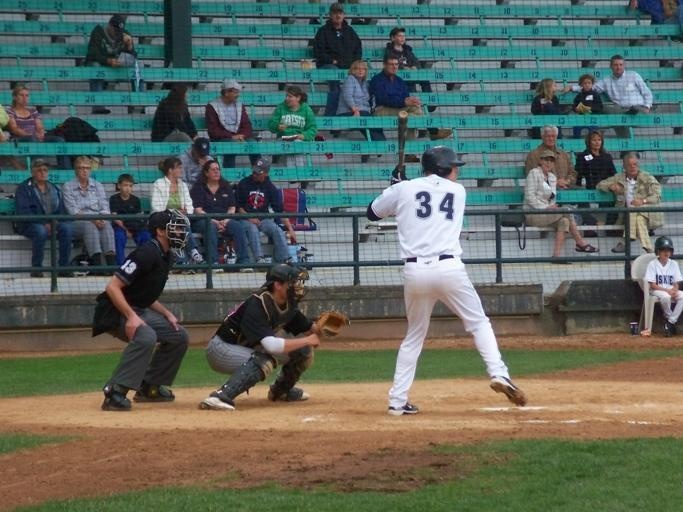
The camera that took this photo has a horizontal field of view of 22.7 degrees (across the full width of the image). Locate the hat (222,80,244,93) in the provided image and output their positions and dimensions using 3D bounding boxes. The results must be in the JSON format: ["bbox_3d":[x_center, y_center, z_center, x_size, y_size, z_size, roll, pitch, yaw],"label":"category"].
[{"bbox_3d":[-2.120,-3.196,32.259,0.279,0.146,0.210,-1,12,4],"label":"hat"}]

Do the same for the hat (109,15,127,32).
[{"bbox_3d":[-4.466,-4.606,33.723,0.294,0.354,0.376,-2,1,0],"label":"hat"}]

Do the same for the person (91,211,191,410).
[{"bbox_3d":[-2.972,0.813,25.399,1.348,2.943,0.648,-2,1,-25],"label":"person"}]

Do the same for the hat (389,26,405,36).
[{"bbox_3d":[1.116,-4.484,34.252,0.256,0.218,0.389,-2,1,-3],"label":"hat"}]

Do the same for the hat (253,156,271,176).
[{"bbox_3d":[-1.465,-1.597,30.817,0.281,0.283,0.349,-2,1,-4],"label":"hat"}]

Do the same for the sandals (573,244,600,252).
[{"bbox_3d":[4.522,-0.130,31.385,0.421,0.158,0.149,0,3,0],"label":"sandals"}]

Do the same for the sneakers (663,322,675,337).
[{"bbox_3d":[5.932,1.330,30.717,0.201,0.254,0.412,-2,1,13],"label":"sneakers"}]

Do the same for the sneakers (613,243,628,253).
[{"bbox_3d":[5.089,-0.126,31.321,0.266,0.175,0.059,-1,1,42],"label":"sneakers"}]

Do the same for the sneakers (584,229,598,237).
[{"bbox_3d":[4.594,-0.399,31.459,0.216,0.138,0.115,0,-4,-2],"label":"sneakers"}]

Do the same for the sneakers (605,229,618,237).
[{"bbox_3d":[4.976,-0.410,31.355,0.275,0.137,0.056,3,2,16],"label":"sneakers"}]

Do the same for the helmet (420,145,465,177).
[{"bbox_3d":[1.512,-1.409,25.088,0.413,0.321,0.568,11,19,40],"label":"helmet"}]

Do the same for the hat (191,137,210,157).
[{"bbox_3d":[-2.597,-1.986,31.256,0.312,0.373,0.342,-2,1,-6],"label":"hat"}]

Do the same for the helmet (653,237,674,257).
[{"bbox_3d":[5.806,-0.170,30.704,0.307,0.344,0.348,-2,1,4],"label":"helmet"}]

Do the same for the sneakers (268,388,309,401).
[{"bbox_3d":[-0.804,2.092,25.773,0.590,0.260,0.222,0,1,-3],"label":"sneakers"}]

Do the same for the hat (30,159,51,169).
[{"bbox_3d":[-5.294,-1.611,29.943,0.328,0.146,0.230,-2,1,-36],"label":"hat"}]

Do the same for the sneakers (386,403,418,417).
[{"bbox_3d":[0.889,2.259,24.896,0.478,0.217,0.167,-2,1,-18],"label":"sneakers"}]

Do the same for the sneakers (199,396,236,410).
[{"bbox_3d":[-1.840,2.193,25.187,0.459,0.182,0.205,3,-4,-6],"label":"sneakers"}]

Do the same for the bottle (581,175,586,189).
[{"bbox_3d":[4.628,-1.391,32.624,0.127,0.195,0.046,-2,1,-19],"label":"bottle"}]
